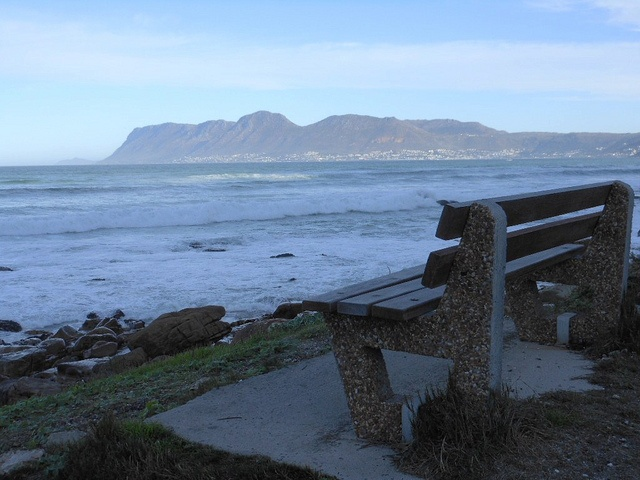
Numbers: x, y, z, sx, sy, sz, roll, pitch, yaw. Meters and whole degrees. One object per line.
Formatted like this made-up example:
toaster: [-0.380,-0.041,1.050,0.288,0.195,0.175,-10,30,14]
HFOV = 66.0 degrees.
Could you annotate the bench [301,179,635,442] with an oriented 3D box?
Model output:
bench: [1.413,0.430,4.079,3.098,1.610,1.238,-10,7,-39]
